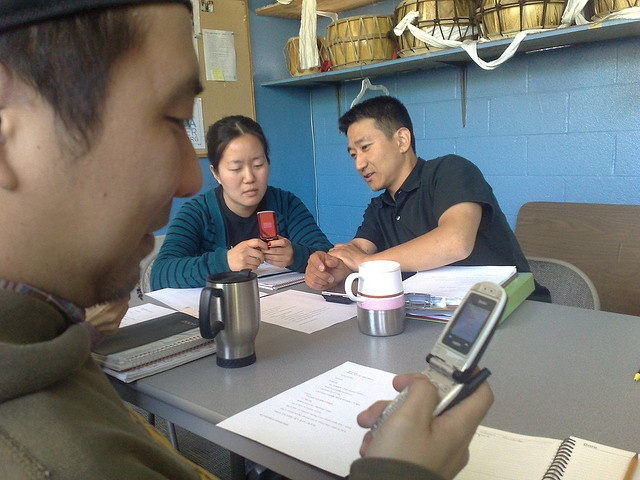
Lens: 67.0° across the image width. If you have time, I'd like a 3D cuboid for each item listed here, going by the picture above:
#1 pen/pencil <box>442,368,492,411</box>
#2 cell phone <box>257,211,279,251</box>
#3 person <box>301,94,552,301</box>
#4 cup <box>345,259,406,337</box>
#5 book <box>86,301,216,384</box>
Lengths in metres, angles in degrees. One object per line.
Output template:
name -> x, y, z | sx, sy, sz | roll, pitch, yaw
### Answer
pen/pencil -> 0.216, 0.222, 0.714 | 0.101, 0.018, 0.018 | -35, 10, -23
cell phone -> -0.190, -0.034, 1.765 | 0.070, 0.134, 0.034 | 1, 21, 10
person -> 0.211, -0.105, 2.142 | 0.965, 0.950, 0.731 | -3, -22, -18
cup -> 0.094, 0.136, 1.162 | 0.178, 0.175, 0.111 | -8, 11, -35
book -> -0.364, 0.231, 1.081 | 0.149, 0.031, 0.166 | 12, 16, 36
